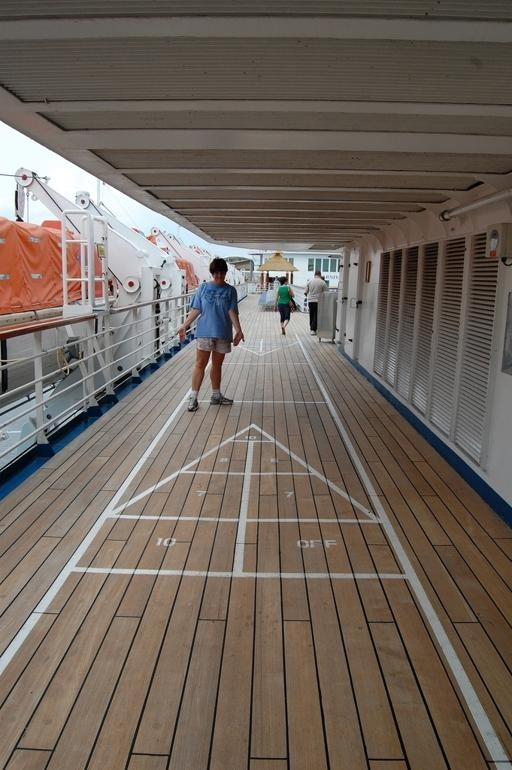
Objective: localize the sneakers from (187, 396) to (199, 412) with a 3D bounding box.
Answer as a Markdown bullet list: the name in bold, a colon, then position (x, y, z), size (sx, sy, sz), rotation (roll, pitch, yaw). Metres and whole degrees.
- **sneakers**: position (-0.833, 0.247, 6.181), size (0.080, 0.122, 0.247), rotation (0, 2, 1)

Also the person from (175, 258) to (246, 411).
- **person**: position (-0.596, -0.686, 6.425), size (0.800, 1.979, 1.496), rotation (1, 6, -6)

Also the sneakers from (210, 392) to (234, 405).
- **sneakers**: position (-0.474, 0.160, 6.568), size (0.308, 0.193, 0.141), rotation (0, 11, -14)

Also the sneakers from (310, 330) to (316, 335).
- **sneakers**: position (1.905, -1.729, 15.441), size (0.139, 0.208, 0.432), rotation (0, 3, 4)
